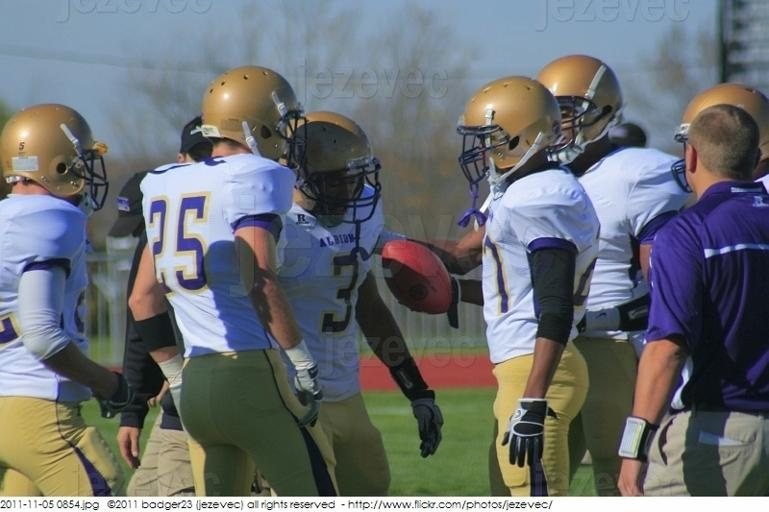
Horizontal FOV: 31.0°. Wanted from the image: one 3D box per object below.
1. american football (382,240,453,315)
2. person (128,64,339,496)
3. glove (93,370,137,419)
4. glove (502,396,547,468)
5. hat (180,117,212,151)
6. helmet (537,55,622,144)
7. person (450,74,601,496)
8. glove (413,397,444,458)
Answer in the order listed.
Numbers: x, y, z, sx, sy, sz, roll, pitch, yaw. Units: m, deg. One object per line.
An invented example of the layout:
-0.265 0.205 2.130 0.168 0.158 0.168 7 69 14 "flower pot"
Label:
0.126 0.070 7.789 0.427 0.358 0.315 22 44 28 "american football"
-0.750 0.122 6.990 0.978 2.173 0.562 -1 3 2 "person"
-1.394 0.693 7.276 0.192 0.256 0.223 6 -22 8 "glove"
0.704 0.859 6.847 0.232 0.314 0.147 14 -7 44 "glove"
-1.060 -0.690 7.754 0.152 0.133 0.225 -9 -3 -24 "hat"
1.129 -0.930 7.866 0.506 0.409 0.397 -23 27 -35 "helmet"
0.762 0.135 7.068 0.565 2.134 0.630 -2 3 -21 "person"
0.243 0.939 7.595 0.126 0.283 0.270 -6 -12 3 "glove"
